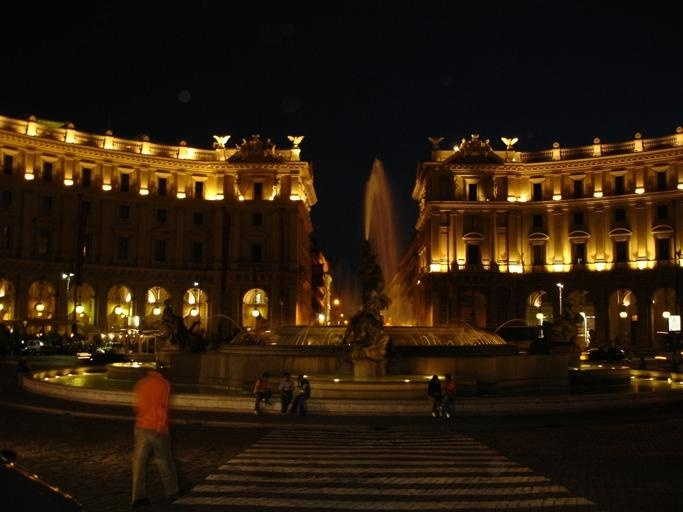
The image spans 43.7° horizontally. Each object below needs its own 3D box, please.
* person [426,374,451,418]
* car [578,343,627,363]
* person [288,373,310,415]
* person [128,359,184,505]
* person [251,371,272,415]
[{"bbox_3d":[2.888,4.086,24.945,0.631,1.212,0.624,2,-6,-13],"label":"person"},{"bbox_3d":[14.847,5.626,48.596,3.459,1.406,2.246,1,-6,-1],"label":"car"},{"bbox_3d":[-1.213,4.109,25.311,0.528,1.160,0.760,6,-8,-38],"label":"person"},{"bbox_3d":[-3.609,3.502,16.611,0.846,2.572,0.541,3,-7,-21],"label":"person"},{"bbox_3d":[-2.394,4.136,26.010,0.531,1.209,1.607,1,-6,-6],"label":"person"}]
